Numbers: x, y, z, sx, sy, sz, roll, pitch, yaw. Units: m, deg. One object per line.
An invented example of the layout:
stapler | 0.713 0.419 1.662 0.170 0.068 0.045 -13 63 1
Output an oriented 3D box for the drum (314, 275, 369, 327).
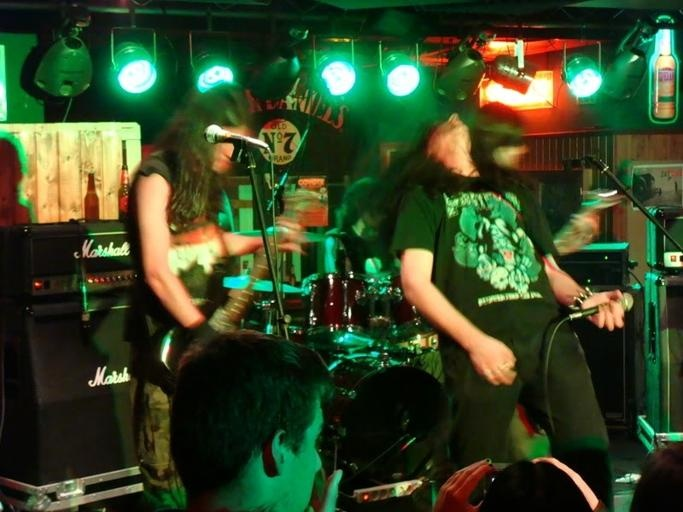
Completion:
drum | -0.024 0.297 4.790 0.354 0.252 0.344 -1 -11 0

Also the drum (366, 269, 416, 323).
drum | 0.242 0.260 4.819 0.352 0.162 0.592 14 20 15

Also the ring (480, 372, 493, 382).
ring | 0.590 0.496 2.858 0.039 0.012 0.039 26 -4 2

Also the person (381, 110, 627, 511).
person | 0.684 0.200 3.082 0.973 1.768 0.439 -2 -3 -12

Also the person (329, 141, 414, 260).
person | 0.293 -0.283 5.446 0.347 0.935 0.688 2 -35 18

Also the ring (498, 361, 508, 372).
ring | 0.656 0.450 2.851 0.031 0.032 0.008 -6 15 -10

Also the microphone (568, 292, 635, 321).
microphone | 1.124 0.216 3.064 0.271 0.104 0.406 -4 -2 20

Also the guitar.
guitar | -0.562 0.097 3.533 0.157 0.503 1.322 0 20 28

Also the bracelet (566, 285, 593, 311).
bracelet | 1.059 0.188 3.129 0.111 0.082 0.037 6 -15 44
